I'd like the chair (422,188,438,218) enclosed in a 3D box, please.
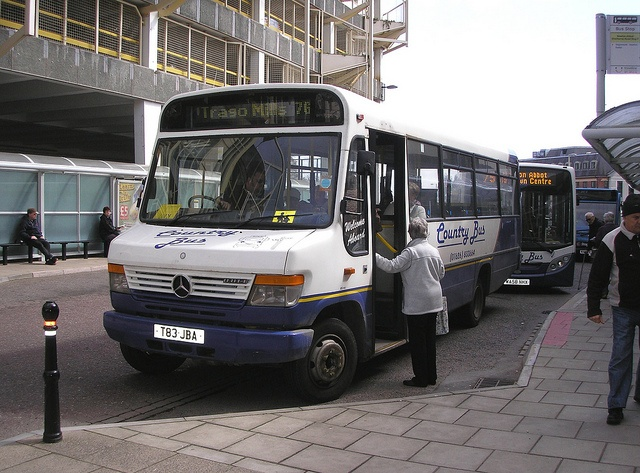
[{"bbox_3d":[1.731,-0.527,8.373,0.262,0.467,0.464,2,4,37],"label":"chair"}]

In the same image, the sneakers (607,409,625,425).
[{"bbox_3d":[2.960,1.787,5.293,0.082,0.116,0.250,0,6,41],"label":"sneakers"}]
